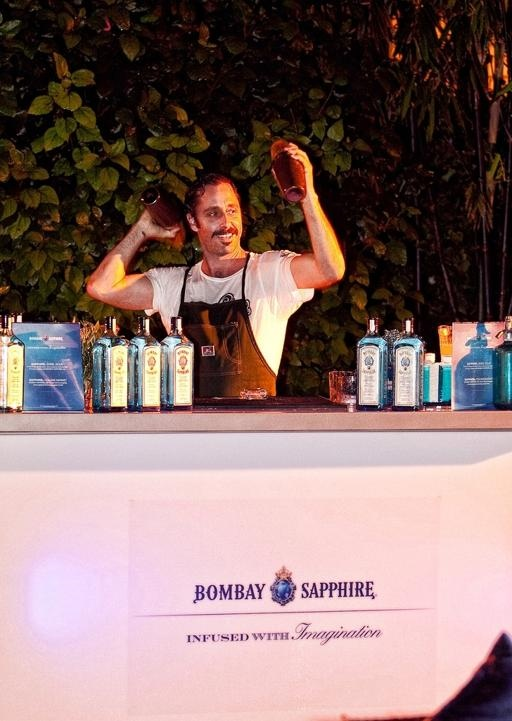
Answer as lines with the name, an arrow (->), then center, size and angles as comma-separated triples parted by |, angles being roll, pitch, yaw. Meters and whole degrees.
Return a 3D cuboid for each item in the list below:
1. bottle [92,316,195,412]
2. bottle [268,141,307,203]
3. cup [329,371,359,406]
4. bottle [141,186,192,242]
bottle -> -0.271, 0.010, 2.080 | 0.245, 0.228, 0.118 | -1, 0, -10
bottle -> 0.090, -0.501, 2.332 | 0.090, 0.159, 0.070 | -1, 0, 6
cup -> 0.236, 0.074, 2.318 | 0.083, 0.076, 0.086 | 0, -4, 0
bottle -> -0.321, -0.528, 3.068 | 0.143, 0.200, 0.274 | -1, 0, -3
